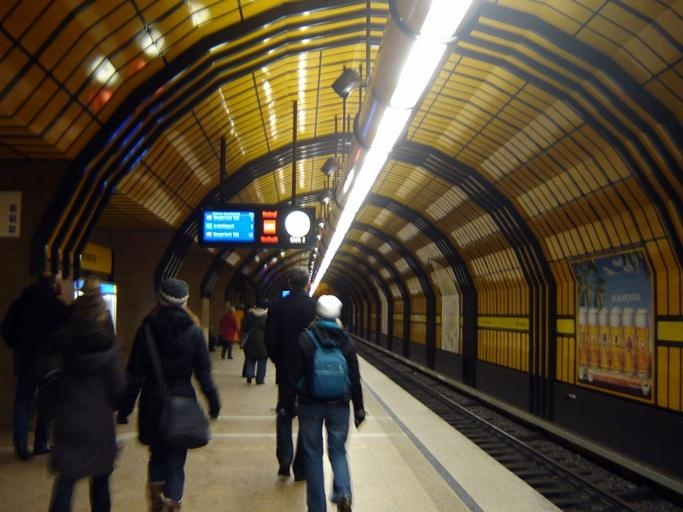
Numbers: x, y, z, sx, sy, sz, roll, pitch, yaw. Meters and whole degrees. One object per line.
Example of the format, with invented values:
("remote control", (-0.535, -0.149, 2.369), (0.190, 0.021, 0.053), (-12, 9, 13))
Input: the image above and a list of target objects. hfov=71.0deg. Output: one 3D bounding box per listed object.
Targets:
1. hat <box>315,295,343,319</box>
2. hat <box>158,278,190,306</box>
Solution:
("hat", (-0.115, 0.491, 4.666), (0.171, 0.216, 0.254), (3, 6, 3))
("hat", (-1.455, 0.289, 4.192), (0.231, 0.197, 0.223), (28, 11, 19))
